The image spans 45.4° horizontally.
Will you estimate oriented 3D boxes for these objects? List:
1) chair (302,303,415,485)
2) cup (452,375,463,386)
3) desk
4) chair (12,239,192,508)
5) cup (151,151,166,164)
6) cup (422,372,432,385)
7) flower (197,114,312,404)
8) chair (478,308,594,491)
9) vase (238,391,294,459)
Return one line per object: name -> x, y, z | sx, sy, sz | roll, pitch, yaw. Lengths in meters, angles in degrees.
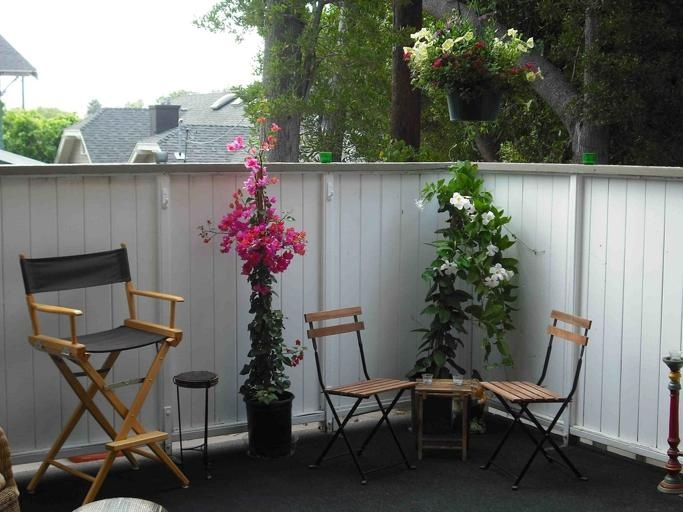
chair -> 0.161, 1.040, 6.321 | 0.881, 1.228, 0.877 | 1, 1, 17
cup -> 0.921, 0.984, 6.471 | 0.068, 0.059, 0.074 | 0, -5, 0
desk -> 0.813, 1.336, 6.600 | 0.486, 0.539, 0.598 | 2, -7, -5
chair -> -1.725, 0.845, 5.915 | 1.165, 1.744, 0.966 | -3, 14, -13
cup -> -1.394, -0.754, 6.230 | 0.109, 0.088, 0.085 | -2, 5, -9
cup -> 0.675, 0.973, 6.443 | 0.073, 0.066, 0.072 | -2, -1, 0
flower -> -0.662, 0.072, 6.422 | 0.781, 2.206, 0.806 | 0, 14, -3
chair -> 1.540, 1.021, 6.409 | 0.819, 1.253, 1.223 | 4, 14, 15
vase -> -0.593, 1.347, 6.551 | 0.424, 0.462, 0.448 | -1, -2, -4
